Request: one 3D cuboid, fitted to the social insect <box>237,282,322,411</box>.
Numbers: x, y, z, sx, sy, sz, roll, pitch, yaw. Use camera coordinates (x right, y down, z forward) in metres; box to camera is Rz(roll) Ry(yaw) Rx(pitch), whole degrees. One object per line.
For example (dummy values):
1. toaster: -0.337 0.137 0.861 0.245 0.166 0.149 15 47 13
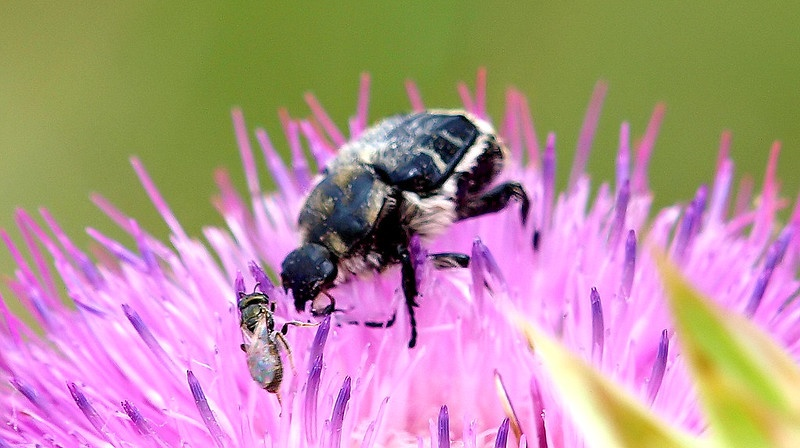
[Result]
1. social insect: -0.288 0.228 1.719 0.185 0.267 0.088 -16 -11 43
